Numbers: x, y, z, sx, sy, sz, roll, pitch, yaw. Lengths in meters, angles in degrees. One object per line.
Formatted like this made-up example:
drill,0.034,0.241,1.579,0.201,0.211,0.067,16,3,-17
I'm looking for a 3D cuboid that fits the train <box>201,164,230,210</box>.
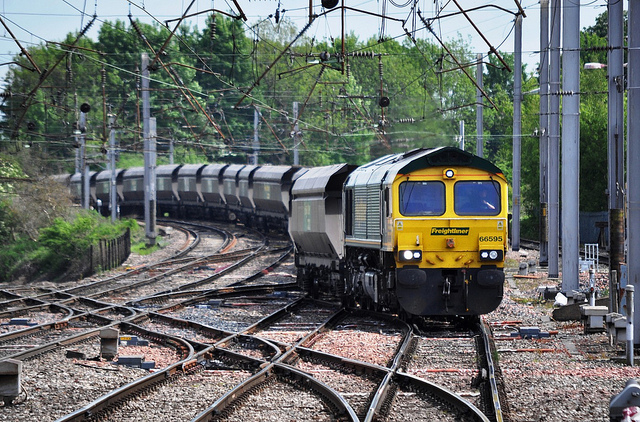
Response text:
train,-7.096,-1.673,56.600,1.927,2.813,2.915,4,-5,-43
